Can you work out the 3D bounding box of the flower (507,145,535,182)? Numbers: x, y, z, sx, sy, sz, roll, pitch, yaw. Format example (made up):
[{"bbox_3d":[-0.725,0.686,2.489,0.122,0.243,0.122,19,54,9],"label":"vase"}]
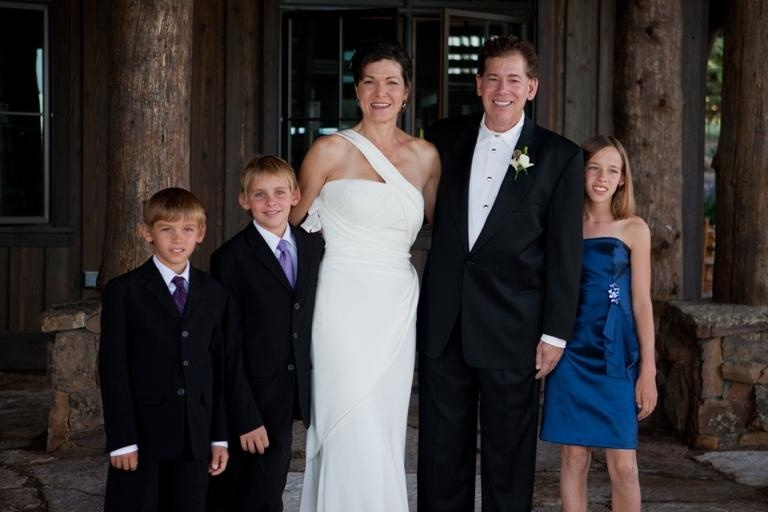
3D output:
[{"bbox_3d":[0.802,-0.543,4.715,0.160,0.169,0.099,17,34,-7],"label":"flower"}]

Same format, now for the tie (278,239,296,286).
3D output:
[{"bbox_3d":[-0.554,0.037,4.650,0.068,0.320,0.046,-8,-20,-15],"label":"tie"}]
